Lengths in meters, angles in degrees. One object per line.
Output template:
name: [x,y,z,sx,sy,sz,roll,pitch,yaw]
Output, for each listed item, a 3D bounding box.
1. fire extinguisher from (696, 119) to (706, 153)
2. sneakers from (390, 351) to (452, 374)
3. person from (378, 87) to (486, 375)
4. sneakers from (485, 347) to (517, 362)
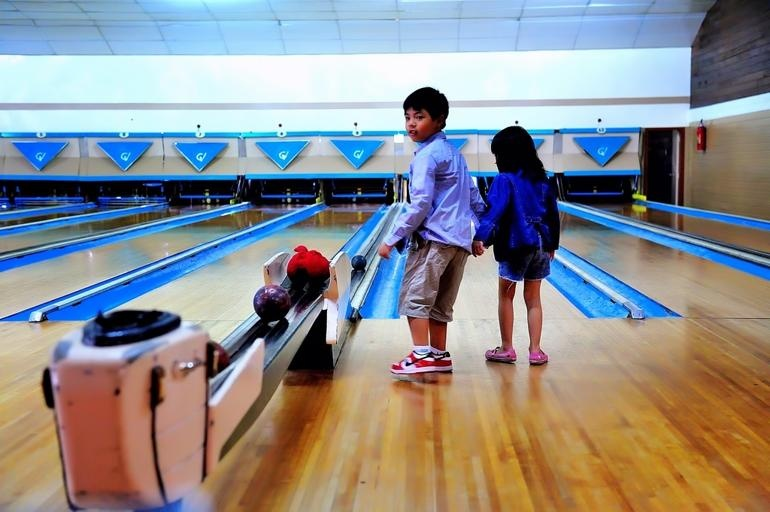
fire extinguisher: [5.925,-2.245,9.289,0.154,0.566,0.369,5,15,23]
sneakers: [0.188,0.529,2.406,0.309,0.129,0.117,0,-2,-7]
person: [0.234,-0.114,2.420,0.387,1.365,0.497,4,15,21]
sneakers: [0.597,0.505,2.556,0.142,0.055,0.071,1,-1,27]
